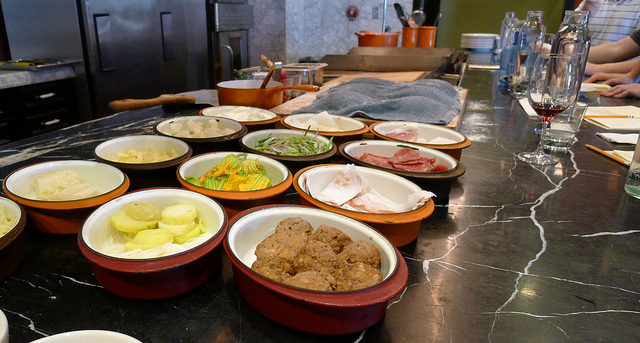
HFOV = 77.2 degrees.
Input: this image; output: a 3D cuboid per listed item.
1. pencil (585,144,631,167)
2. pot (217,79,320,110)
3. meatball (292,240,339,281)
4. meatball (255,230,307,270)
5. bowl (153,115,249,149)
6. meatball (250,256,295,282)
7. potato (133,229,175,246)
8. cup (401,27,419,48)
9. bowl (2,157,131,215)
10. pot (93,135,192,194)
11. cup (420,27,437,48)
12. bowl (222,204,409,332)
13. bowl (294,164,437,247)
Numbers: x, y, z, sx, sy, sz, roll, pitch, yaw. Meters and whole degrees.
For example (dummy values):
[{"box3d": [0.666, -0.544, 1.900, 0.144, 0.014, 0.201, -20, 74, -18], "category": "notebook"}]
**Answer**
[{"box3d": [1.358, -0.072, 1.894, 0.017, 0.017, 0.215, -28, 48, -36], "category": "pencil"}, {"box3d": [-0.286, -0.404, 2.142, 0.594, 0.161, 0.326, 12, 21, 29], "category": "pot"}, {"box3d": [-0.013, 0.274, 1.278, 0.125, 0.113, 0.041, -32, -9, -1], "category": "meatball"}, {"box3d": [-0.119, 0.240, 1.381, 0.250, 0.088, 0.194, -3, 9, -19], "category": "meatball"}, {"box3d": [-0.506, -0.185, 1.770, 0.255, 0.051, 0.238, 3, 17, -1], "category": "bowl"}, {"box3d": [-0.140, 0.288, 1.231, 0.105, 0.030, 0.073, 14, 63, -10], "category": "meatball"}, {"box3d": [-0.547, 0.204, 1.311, 0.070, 0.017, 0.070, 3, 5, 43], "category": "potato"}, {"box3d": [0.985, -1.476, 4.403, 0.164, 0.203, 0.354, 7, 27, 9], "category": "cup"}, {"box3d": [-0.911, 0.043, 1.404, 0.291, 0.062, 0.273, 6, 22, -2], "category": "bowl"}, {"box3d": [-0.700, -0.057, 1.589, 0.299, 0.272, 0.276, 1, 3, 0], "category": "pot"}, {"box3d": [1.216, -1.534, 4.550, 0.182, 0.204, 0.347, 8, 27, 11], "category": "cup"}, {"box3d": [-0.019, 0.303, 1.291, 0.582, 0.277, 0.316, 9, 28, 13], "category": "bowl"}, {"box3d": [0.162, 0.090, 1.448, 0.372, 0.124, 0.372, 12, 18, -4], "category": "bowl"}]
